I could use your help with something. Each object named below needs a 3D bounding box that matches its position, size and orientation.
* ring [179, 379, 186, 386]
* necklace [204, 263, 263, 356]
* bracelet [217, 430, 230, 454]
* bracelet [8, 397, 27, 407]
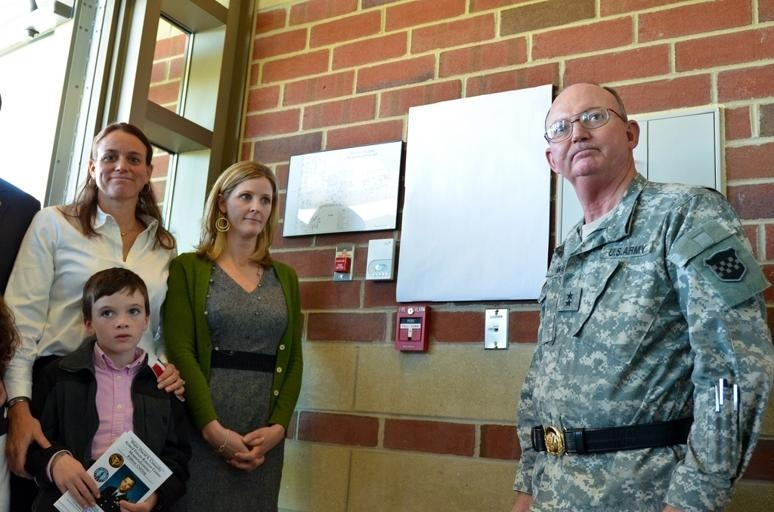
[{"bbox_3d":[-0.792,0.487,2.481,0.020,0.017,0.023,-2,-14,0],"label":"ring"},{"bbox_3d":[-0.643,0.237,2.644,0.280,0.371,0.213,14,-28,-30],"label":"necklace"},{"bbox_3d":[-0.633,0.726,2.477,0.020,0.064,0.058,20,-11,-10],"label":"bracelet"},{"bbox_3d":[-1.286,0.501,2.213,0.040,0.010,0.037,-9,-2,2],"label":"bracelet"}]
